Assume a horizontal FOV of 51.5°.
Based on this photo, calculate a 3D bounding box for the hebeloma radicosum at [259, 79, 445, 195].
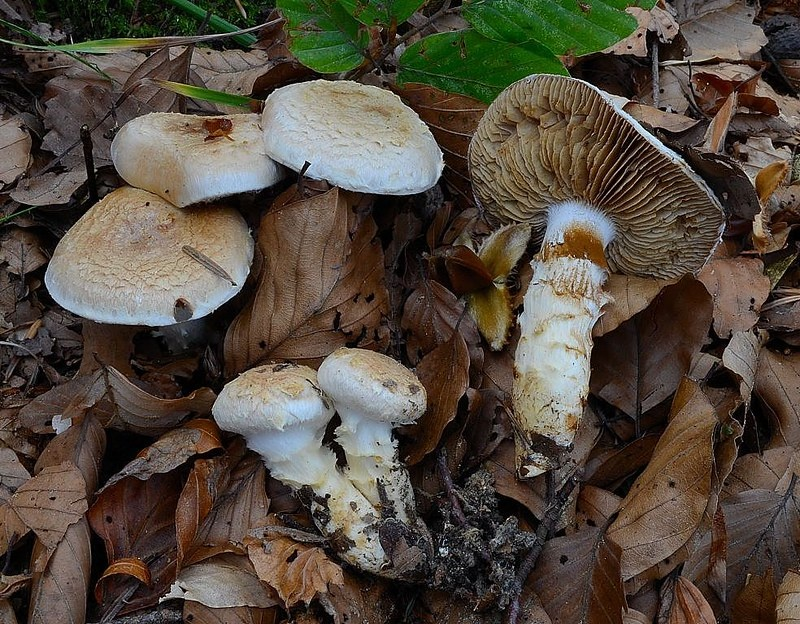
[{"bbox_3d":[-0.194,-0.690,3.317,0.591,0.123,0.558,24,29,-9],"label":"hebeloma radicosum"}]
